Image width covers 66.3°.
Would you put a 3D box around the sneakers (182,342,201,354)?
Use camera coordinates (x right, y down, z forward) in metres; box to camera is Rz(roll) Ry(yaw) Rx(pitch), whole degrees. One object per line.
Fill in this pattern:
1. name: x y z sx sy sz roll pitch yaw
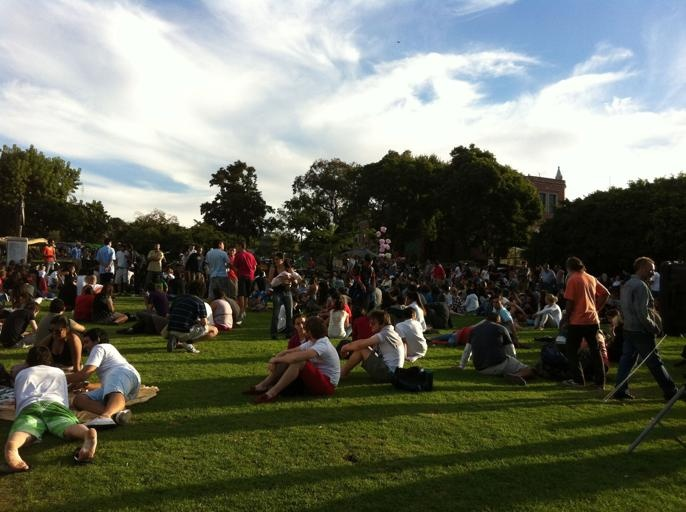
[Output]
1. sneakers: -3.385 2.000 11.512 0.510 0.216 0.168 7 9 28

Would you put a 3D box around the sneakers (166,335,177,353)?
1. sneakers: -3.739 1.910 11.426 0.132 0.392 0.163 3 -9 -3

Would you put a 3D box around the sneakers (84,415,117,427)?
1. sneakers: -3.241 2.213 7.039 0.441 0.186 0.150 1 -4 -9

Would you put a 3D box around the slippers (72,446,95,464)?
1. slippers: -3.081 2.349 6.212 0.250 0.162 0.216 1 3 -17

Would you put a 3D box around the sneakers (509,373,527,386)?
1. sneakers: 3.222 2.308 9.837 0.151 0.130 0.381 5 11 -30

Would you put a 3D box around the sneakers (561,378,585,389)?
1. sneakers: 4.243 2.383 9.746 0.370 0.150 0.151 3 -3 38

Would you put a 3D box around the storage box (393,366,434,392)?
1. storage box: 1.197 2.140 9.176 0.472 0.206 0.478 -7 -11 44

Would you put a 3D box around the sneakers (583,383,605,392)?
1. sneakers: 4.541 2.390 9.563 0.321 0.129 0.120 1 -3 42

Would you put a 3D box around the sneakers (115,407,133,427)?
1. sneakers: -3.023 2.220 7.220 0.127 0.121 0.279 -8 -3 -16

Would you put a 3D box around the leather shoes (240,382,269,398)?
1. leather shoes: -1.456 2.202 8.555 0.421 0.154 0.161 2 -8 -14
